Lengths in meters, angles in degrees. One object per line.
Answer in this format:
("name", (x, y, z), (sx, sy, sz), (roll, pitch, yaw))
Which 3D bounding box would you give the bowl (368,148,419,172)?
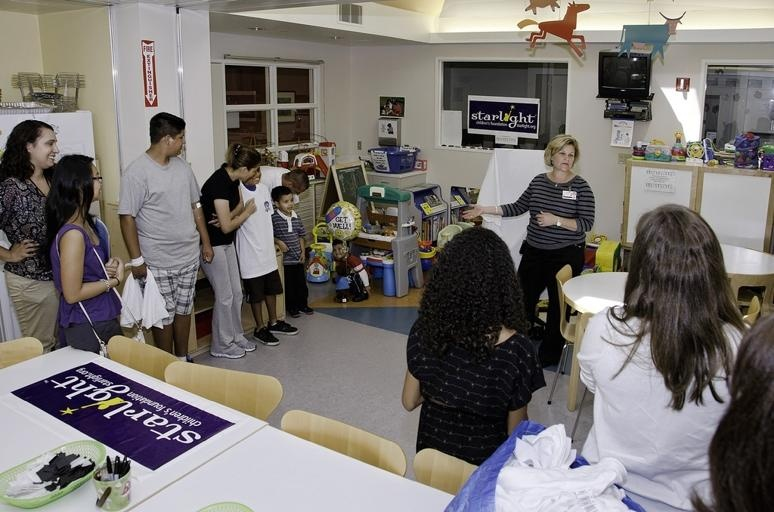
("bowl", (0.136, -1.465, 8.149), (0.469, 0.274, 0.556), (7, 11, 35))

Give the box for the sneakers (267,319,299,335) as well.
("sneakers", (-1.097, 0.750, 5.471), (0.323, 0.145, 0.131), (2, 7, 1))

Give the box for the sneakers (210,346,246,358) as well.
("sneakers", (-1.531, 0.928, 4.939), (0.291, 0.128, 0.124), (0, 9, -4))

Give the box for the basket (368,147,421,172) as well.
("basket", (0.138, -1.478, 8.142), (0.482, 0.264, 0.572), (6, 11, 33))

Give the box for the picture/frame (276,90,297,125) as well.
("picture/frame", (-1.549, -2.240, 7.836), (0.040, 0.564, 0.488), (8, 15, 32))

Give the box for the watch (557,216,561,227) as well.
("watch", (1.537, -0.287, 4.604), (0.042, 0.071, 0.021), (0, 5, -1))

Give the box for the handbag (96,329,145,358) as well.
("handbag", (-1.779, 0.575, 3.448), (0.218, 0.270, 0.203), (7, 13, 35))

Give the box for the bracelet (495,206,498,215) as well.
("bracelet", (1.032, -0.418, 4.855), (0.017, 0.053, 0.043), (-2, 2, 10))

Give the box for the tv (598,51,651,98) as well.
("tv", (2.992, -2.238, 6.419), (0.518, 0.493, 0.287), (7, 17, 33))

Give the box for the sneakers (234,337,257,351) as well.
("sneakers", (-1.387, 0.859, 5.062), (0.186, 0.080, 0.109), (6, 12, 10))

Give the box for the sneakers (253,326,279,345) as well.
("sneakers", (-1.228, 0.792, 5.265), (0.305, 0.126, 0.124), (11, 15, 37))
